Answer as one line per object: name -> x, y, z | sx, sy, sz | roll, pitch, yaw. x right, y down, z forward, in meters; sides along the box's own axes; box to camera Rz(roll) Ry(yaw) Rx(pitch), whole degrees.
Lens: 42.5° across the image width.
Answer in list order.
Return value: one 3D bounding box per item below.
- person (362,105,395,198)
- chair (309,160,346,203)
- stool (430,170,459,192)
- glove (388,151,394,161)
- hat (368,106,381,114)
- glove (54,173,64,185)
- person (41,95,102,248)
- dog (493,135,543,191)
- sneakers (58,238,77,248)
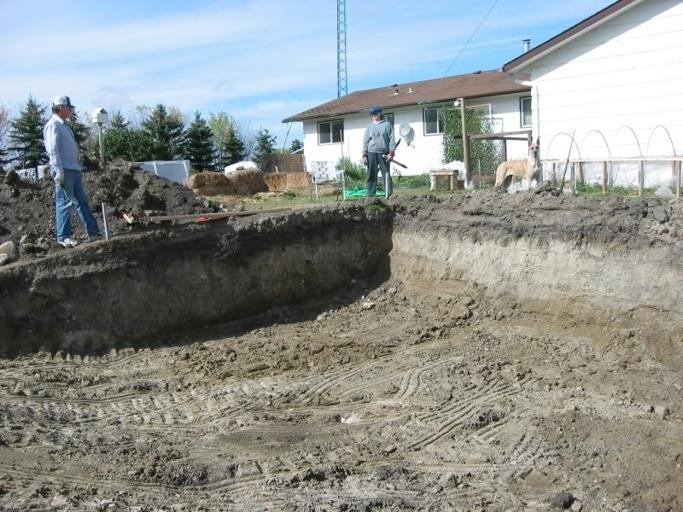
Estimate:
person -> 0.642, -1.774, 14.905 | 0.558, 1.498, 0.870 | -3, 9, 2
chair -> -0.504, -1.853, 21.259 | 0.660, 0.701, 0.829 | 3, -14, -7
stool -> 2.581, -1.899, 22.028 | 0.656, 0.614, 0.433 | 7, 19, 37
glove -> 0.819, -1.674, 14.675 | 0.092, 0.137, 0.044 | 0, -30, -12
hat -> 0.587, -2.479, 14.982 | 0.236, 0.129, 0.340 | -6, 12, 3
glove -> -3.900, -1.075, 12.112 | 0.198, 0.144, 0.088 | 5, 12, 43
person -> -3.779, -1.173, 12.291 | 0.577, 2.069, 0.454 | -7, 9, -21
dog -> 3.369, -1.721, 16.796 | 0.871, 0.877, 0.834 | 1, 10, 25
sneakers -> -3.864, -0.187, 12.396 | 0.199, 0.086, 0.089 | -15, -6, 5
